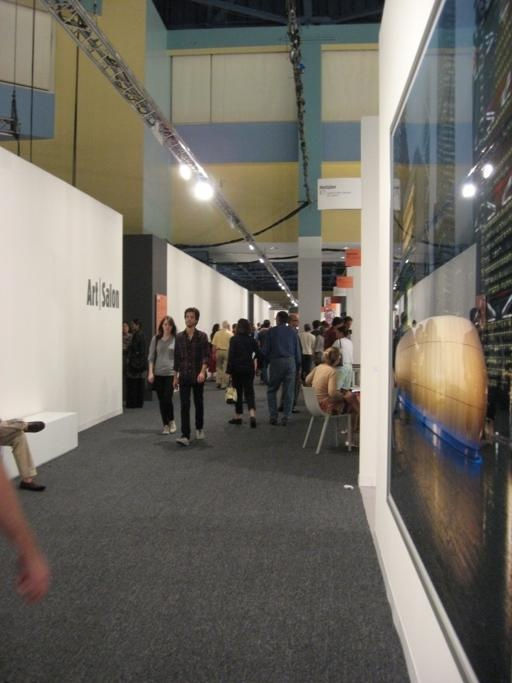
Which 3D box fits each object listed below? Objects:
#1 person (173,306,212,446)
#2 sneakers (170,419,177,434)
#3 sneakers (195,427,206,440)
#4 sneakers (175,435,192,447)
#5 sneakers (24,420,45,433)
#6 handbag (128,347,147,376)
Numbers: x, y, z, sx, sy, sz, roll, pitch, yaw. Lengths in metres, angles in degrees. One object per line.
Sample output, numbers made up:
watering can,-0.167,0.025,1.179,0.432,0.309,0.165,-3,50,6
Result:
person,-0.832,0.436,6.189,0.437,1.726,0.622,-1,3,-11
sneakers,-1.198,1.199,6.931,0.082,0.144,0.277,1,-19,-13
sneakers,-0.754,1.210,6.519,0.077,0.213,0.181,2,8,4
sneakers,-0.905,1.214,5.993,0.183,0.145,0.211,-2,4,-12
sneakers,-1.905,0.729,4.171,0.133,0.120,0.263,-2,5,-22
handbag,-2.228,0.395,9.047,0.339,0.554,0.321,-2,4,-20
